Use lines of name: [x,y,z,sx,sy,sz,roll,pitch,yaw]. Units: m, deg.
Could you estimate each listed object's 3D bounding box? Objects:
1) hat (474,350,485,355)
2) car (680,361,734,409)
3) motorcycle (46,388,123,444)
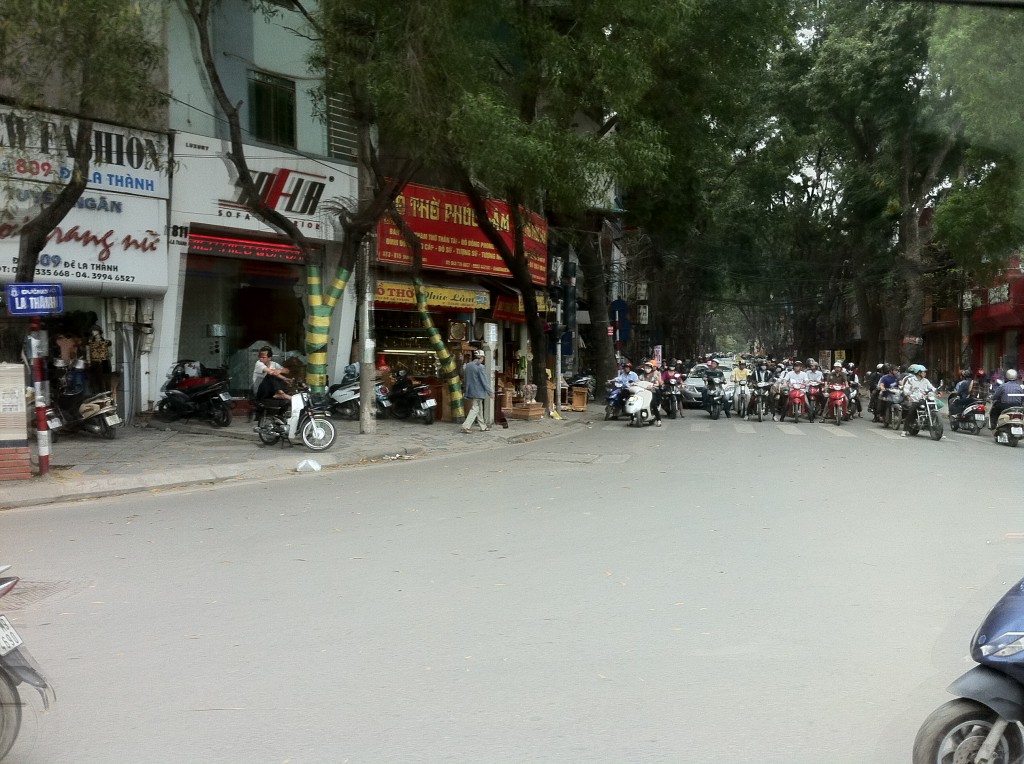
hat: [-0.823,-0.700,23.674,0.184,0.100,0.263,-2,0,1]
car: [6.852,0.115,34.997,1.322,1.237,2.789,0,-6,9]
motorcycle: [-7.772,0.656,17.711,1.142,0.876,2.535,-1,3,-24]
